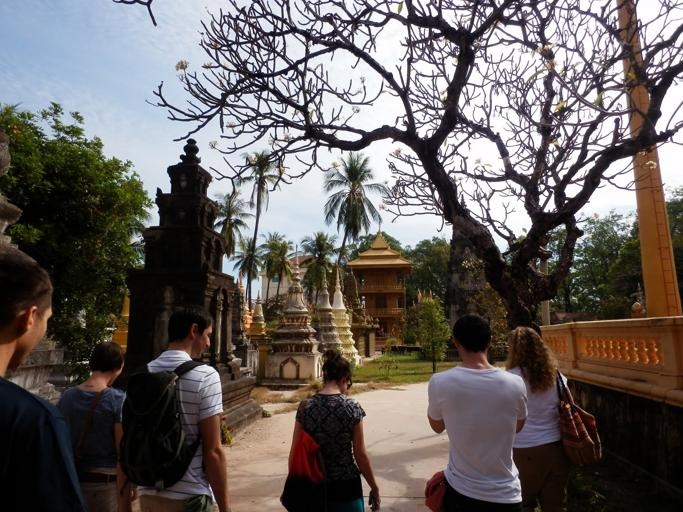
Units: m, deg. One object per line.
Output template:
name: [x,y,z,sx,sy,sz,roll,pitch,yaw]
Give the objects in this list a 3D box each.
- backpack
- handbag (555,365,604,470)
backpack: [-1.268,1.165,3.400,0.481,0.816,0.446,-2,-10,18]
handbag: [2.019,1.383,4.174,0.281,0.769,0.313,-9,-13,28]
